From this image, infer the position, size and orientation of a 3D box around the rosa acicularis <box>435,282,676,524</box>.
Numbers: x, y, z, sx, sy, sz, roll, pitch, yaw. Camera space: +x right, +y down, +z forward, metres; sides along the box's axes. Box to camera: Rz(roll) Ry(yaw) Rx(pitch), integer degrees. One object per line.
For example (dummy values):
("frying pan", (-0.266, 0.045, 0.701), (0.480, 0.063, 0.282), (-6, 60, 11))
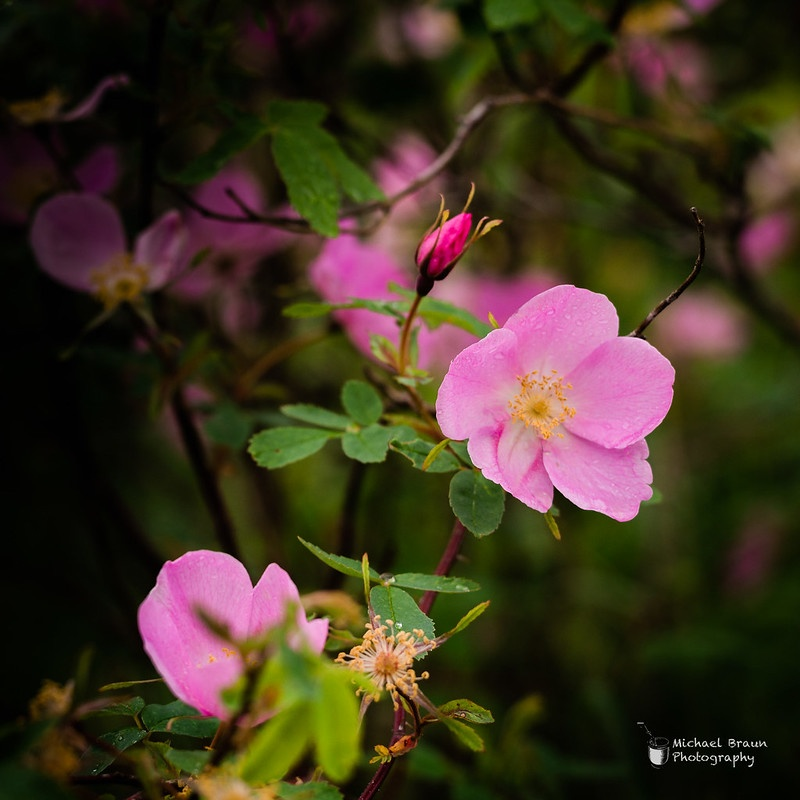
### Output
("rosa acicularis", (0.176, 0.010, 1.020), (0.230, 0.192, 0.165), (-40, 48, -18))

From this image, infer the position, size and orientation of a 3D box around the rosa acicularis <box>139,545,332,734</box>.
("rosa acicularis", (-0.147, 0.263, 0.946), (0.212, 0.112, 0.207), (-1, 73, -3))
